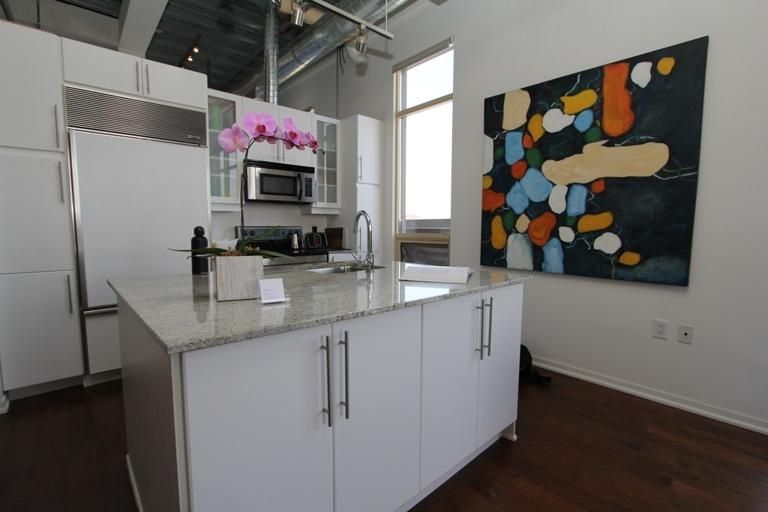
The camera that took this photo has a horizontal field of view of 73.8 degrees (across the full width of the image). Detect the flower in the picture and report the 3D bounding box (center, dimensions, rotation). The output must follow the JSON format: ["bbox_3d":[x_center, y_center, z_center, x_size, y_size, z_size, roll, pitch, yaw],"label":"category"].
[{"bbox_3d":[-0.925,-0.451,3.688,0.835,1.093,0.837,9,7,19],"label":"flower"}]

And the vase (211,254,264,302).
[{"bbox_3d":[-0.955,0.134,3.331,0.301,0.302,0.298,-2,7,-20],"label":"vase"}]

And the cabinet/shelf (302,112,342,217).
[{"bbox_3d":[-0.825,-1.114,6.531,0.290,1.214,0.471,3,3,44],"label":"cabinet/shelf"}]

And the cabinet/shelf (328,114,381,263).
[{"bbox_3d":[-0.321,-0.865,6.432,0.612,1.748,0.511,0,15,-4],"label":"cabinet/shelf"}]
